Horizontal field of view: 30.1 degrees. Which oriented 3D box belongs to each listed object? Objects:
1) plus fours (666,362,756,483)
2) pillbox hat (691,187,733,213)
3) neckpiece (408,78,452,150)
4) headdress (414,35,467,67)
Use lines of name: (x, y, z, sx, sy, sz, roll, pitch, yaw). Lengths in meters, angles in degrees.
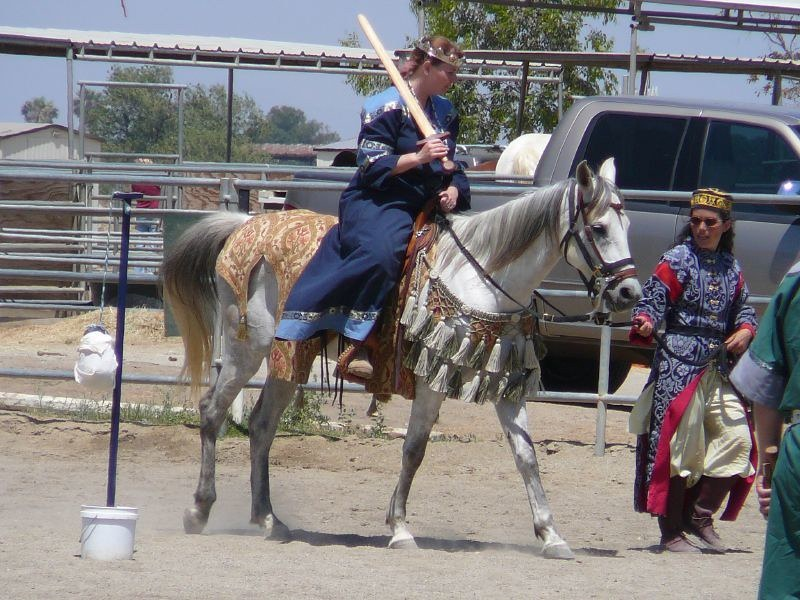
plus fours: (2.180, 1.028, 10.777, 0.512, 0.729, 0.232, -1, 38, 15)
pillbox hat: (2.275, -0.722, 10.772, 0.203, 0.108, 0.209, 11, 8, 43)
neckpiece: (0.223, -1.377, 10.905, 0.142, 0.472, 0.479, -26, -14, 37)
headdress: (0.272, -1.814, 10.833, 0.370, 0.222, 0.220, 4, 7, 6)
